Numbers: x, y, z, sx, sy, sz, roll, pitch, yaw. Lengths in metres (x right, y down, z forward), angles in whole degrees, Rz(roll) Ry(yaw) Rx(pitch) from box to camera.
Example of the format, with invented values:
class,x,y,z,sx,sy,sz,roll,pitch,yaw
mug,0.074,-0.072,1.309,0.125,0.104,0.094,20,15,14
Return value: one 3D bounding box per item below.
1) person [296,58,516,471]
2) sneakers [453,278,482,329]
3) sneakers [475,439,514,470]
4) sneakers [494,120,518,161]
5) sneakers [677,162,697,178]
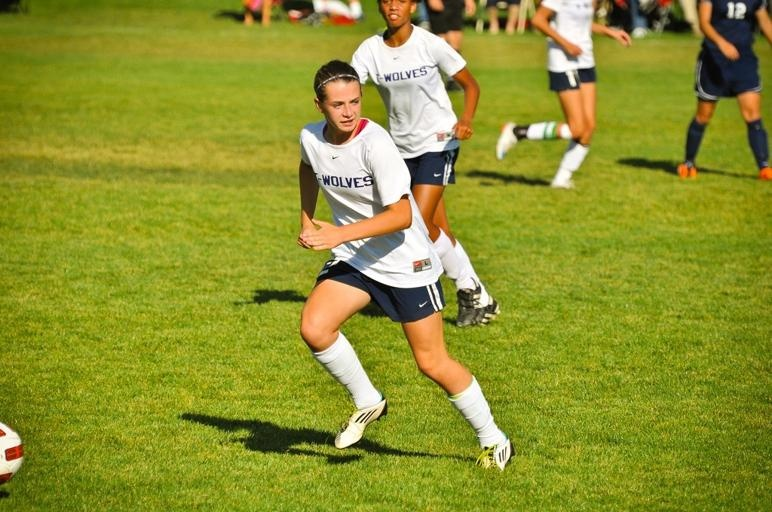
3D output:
class,x,y,z,sx,sy,sz,roll,pitch,yaw
person,0.034,0.042,9.037,1.519,3.015,0.814,1,16,7
sneakers,0.749,0.414,10.651,0.155,0.430,0.198,0,-20,27
sneakers,0.844,1.530,9.083,0.362,0.150,0.140,-32,12,-36
sneakers,1.408,-1.369,14.050,0.217,0.489,0.168,16,22,-4
sneakers,3.564,-1.031,14.020,0.145,0.090,0.224,0,-7,5
